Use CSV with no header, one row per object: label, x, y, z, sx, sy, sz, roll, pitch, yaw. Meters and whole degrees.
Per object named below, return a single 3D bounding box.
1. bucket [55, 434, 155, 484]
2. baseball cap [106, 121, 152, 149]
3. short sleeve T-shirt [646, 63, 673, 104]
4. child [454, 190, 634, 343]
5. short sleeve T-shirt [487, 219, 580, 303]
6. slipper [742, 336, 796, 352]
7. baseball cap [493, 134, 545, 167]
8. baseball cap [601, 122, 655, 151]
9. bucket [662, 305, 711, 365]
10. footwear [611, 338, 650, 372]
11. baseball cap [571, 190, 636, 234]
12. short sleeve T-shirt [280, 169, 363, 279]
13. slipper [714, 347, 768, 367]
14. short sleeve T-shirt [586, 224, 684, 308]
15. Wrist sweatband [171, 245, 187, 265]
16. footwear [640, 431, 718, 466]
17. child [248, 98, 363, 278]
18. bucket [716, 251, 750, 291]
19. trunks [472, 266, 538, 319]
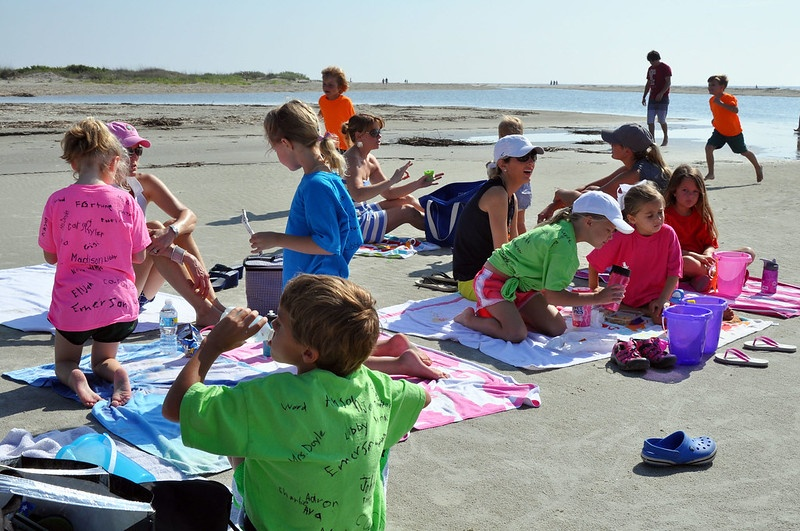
bucket,-1.964,1.283,4.758,0.430,0.201,0.255,20,7,8
baseball cap,-2.717,-1.256,7.135,0.507,0.170,0.324,21,19,31
short sleeve T-shirt,7.238,-5.095,20.066,0.555,1.088,0.630,0,13,18
child,1.673,-0.021,7.523,1.430,1.493,1.747,-6,13,-40
short sleeve T-shirt,1.437,-0.118,7.376,0.664,0.825,0.843,13,18,-20
slipper,3.585,0.774,6.962,0.335,0.076,0.186,4,6,20
baseball cap,1.299,-1.264,7.874,0.444,0.194,0.312,-8,3,33
baseball cap,2.945,-1.618,9.278,0.617,0.231,0.369,13,28,9
bucket,2.676,0.642,6.873,0.585,0.496,0.507,-2,3,-5
footwear,2.151,0.835,6.693,0.287,0.236,0.347,-4,12,-5
baseball cap,2.046,-0.586,6.990,0.350,0.246,0.501,-9,-18,-26
short sleeve T-shirt,-0.715,-0.290,6.622,0.858,1.277,1.212,1,11,-4
slipper,3.185,0.872,6.711,0.313,0.072,0.179,6,8,32
short sleeve T-shirt,2.647,-0.023,7.919,1.001,0.878,0.549,6,31,18
Wrist sweatband,-2.177,-0.092,7.069,0.144,0.210,0.250,-8,13,-19
footwear,2.087,1.360,5.388,0.509,0.189,0.253,-4,10,-3
child,-0.801,-0.624,6.131,0.767,1.552,0.887,-1,13,12
bucket,3.856,0.082,8.492,0.457,0.429,0.438,0,10,0
trunks,1.109,0.320,7.515,0.580,0.400,0.558,15,2,10
